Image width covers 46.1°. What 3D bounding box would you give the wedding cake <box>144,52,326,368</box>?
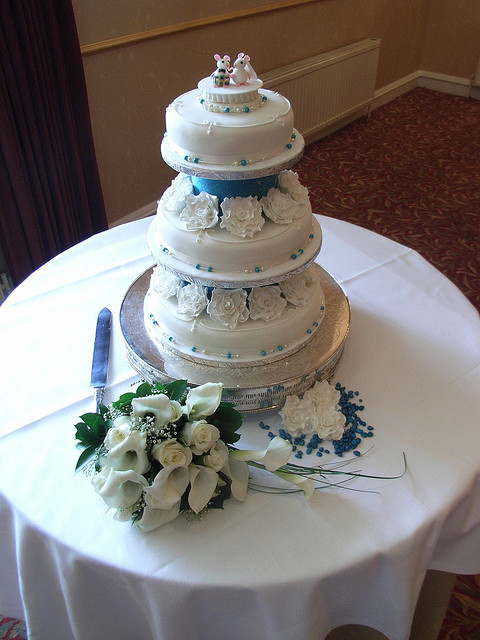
[{"bbox_3d":[-0.046,-0.197,1.429,0.471,0.794,0.456,-6,41,-9],"label":"wedding cake"}]
